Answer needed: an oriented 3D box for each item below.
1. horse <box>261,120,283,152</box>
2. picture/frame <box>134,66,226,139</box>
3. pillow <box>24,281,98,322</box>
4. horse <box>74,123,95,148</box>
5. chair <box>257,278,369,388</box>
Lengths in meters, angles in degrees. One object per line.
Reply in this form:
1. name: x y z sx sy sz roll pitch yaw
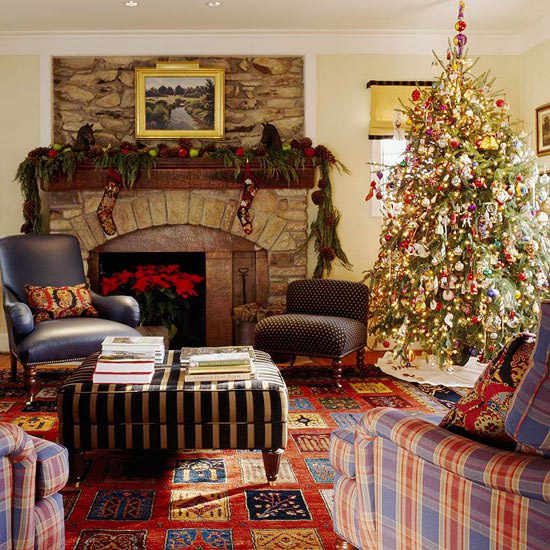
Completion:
1. horse: -0.051 -1.259 4.585 0.177 0.305 0.248 -1 4 -22
2. picture/frame: -0.867 -1.577 4.606 0.811 0.576 0.074 0 7 0
3. pillow: -1.472 0.146 3.619 0.530 0.301 0.146 -1 10 10
4. horse: -1.669 -1.223 4.492 0.169 0.236 0.153 -2 4 -35
5. chair: 0.282 0.391 3.832 0.813 0.615 0.775 8 12 42
